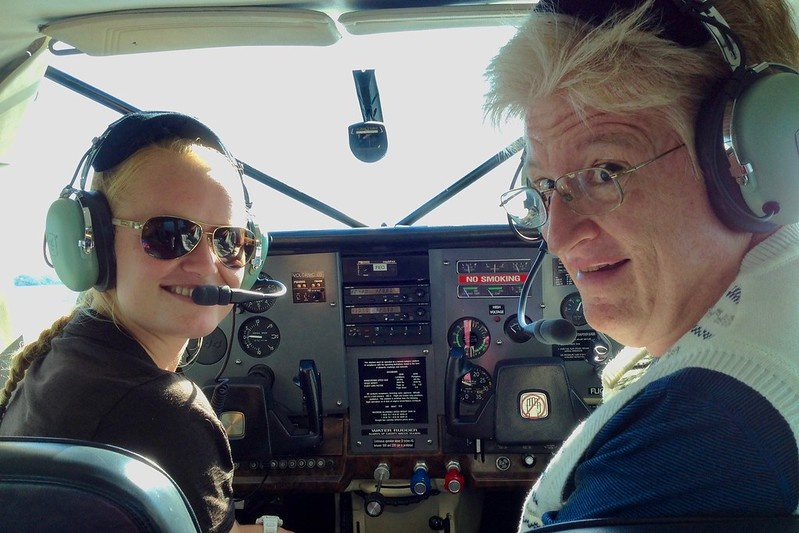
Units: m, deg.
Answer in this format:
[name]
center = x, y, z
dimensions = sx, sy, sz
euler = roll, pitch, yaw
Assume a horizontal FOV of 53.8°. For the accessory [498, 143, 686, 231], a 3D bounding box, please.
[accessory]
center = 0.585, -0.201, 2.088
dimensions = 0.341, 0.124, 0.313
euler = -6, 3, -17
